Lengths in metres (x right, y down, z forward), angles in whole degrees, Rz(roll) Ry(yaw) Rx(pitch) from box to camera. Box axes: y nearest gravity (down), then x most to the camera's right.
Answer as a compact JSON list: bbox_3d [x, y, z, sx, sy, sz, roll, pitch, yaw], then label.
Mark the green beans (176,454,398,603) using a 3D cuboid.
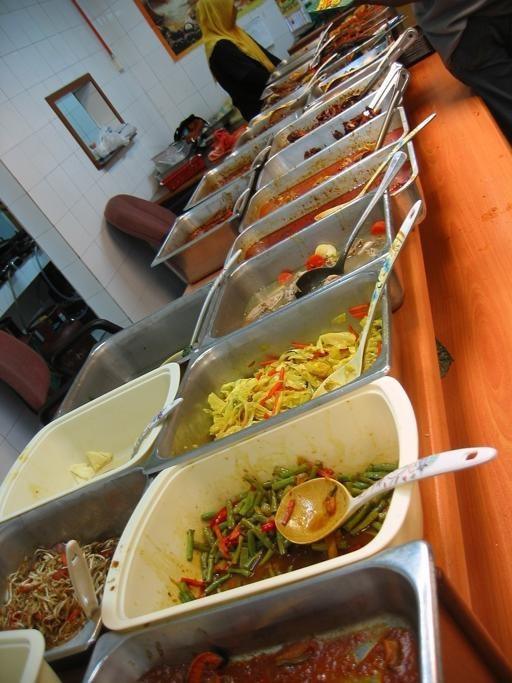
[{"bbox_3d":[0.038,0.350,1.017,0.470,0.116,0.209,-31,21,24],"label":"green beans"}]
